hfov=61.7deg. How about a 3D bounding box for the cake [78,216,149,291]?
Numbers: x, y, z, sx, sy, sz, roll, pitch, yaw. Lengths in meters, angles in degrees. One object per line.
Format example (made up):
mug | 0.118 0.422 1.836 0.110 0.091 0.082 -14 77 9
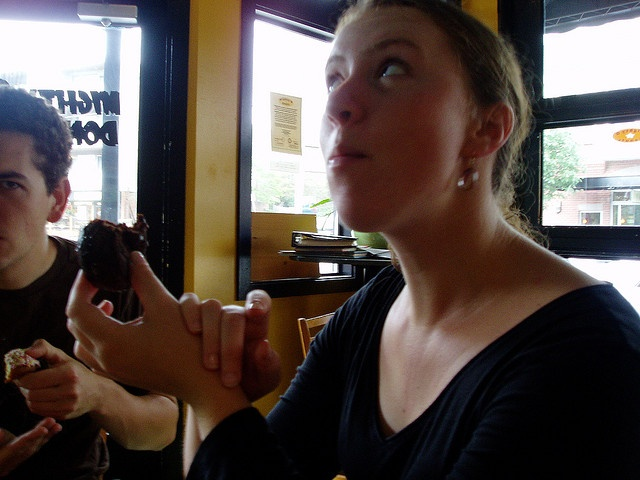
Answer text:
cake | -0.441 0.027 1.186 0.076 0.131 0.166 -16 -7 -1

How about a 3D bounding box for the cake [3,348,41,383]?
cake | -0.807 0.338 1.491 0.101 0.073 0.078 -33 -51 30
